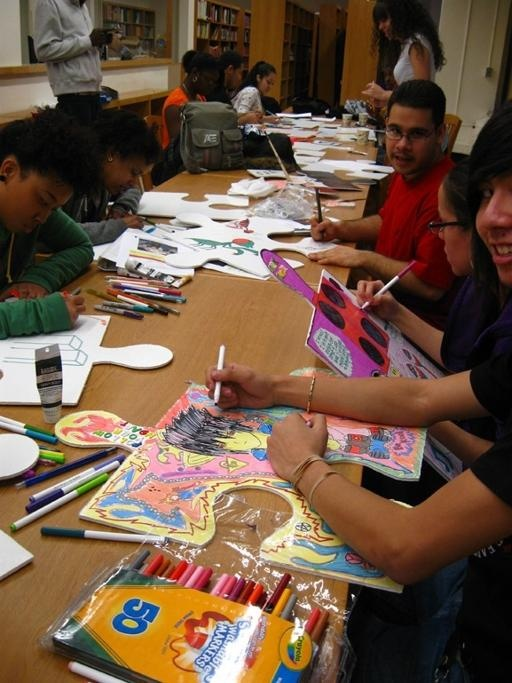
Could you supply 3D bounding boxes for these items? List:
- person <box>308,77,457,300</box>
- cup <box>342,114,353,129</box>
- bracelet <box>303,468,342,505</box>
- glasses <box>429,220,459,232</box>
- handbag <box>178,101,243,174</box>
[{"bbox_3d":[0.578,-0.620,2.166,0.612,0.851,0.585,0,32,1],"label":"person"},{"bbox_3d":[0.951,-2.290,5.261,0.124,0.126,0.121,0,28,0],"label":"cup"},{"bbox_3d":[0.096,0.217,0.734,0.041,0.055,0.029,-5,22,-14],"label":"bracelet"},{"bbox_3d":[0.537,-0.318,1.428,0.068,0.018,0.063,5,27,15],"label":"glasses"},{"bbox_3d":[-0.280,-1.190,2.978,0.388,0.336,0.220,-15,35,-28],"label":"handbag"}]
